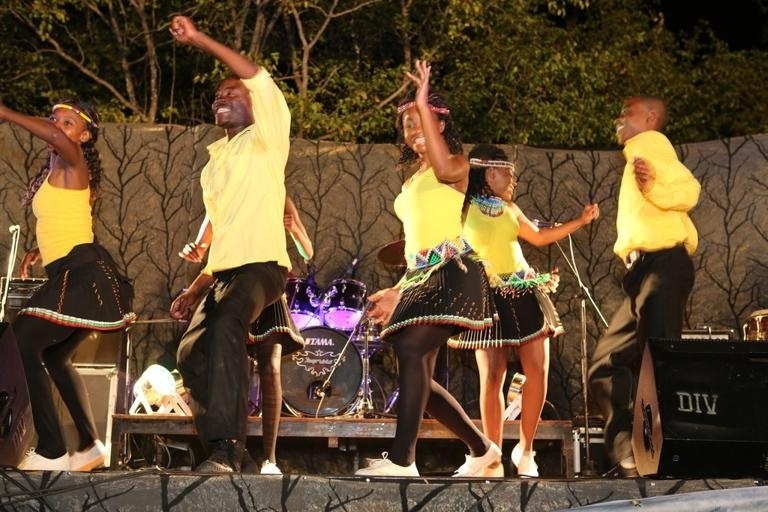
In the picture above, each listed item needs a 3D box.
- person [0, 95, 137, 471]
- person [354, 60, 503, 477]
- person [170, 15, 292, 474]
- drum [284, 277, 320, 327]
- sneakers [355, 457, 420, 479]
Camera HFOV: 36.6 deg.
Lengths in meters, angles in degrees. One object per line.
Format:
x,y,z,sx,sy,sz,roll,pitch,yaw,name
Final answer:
-2.426,0.237,8.779,0.522,2.882,0.907,-1,0,43,person
0.316,0.113,8.301,0.814,2.988,0.932,-1,0,17,person
-1.153,-0.083,8.307,0.636,3.272,0.913,-1,0,30,person
-0.748,0.440,10.726,0.404,0.353,0.392,-4,-7,5,drum
0.024,1.478,7.964,0.452,0.137,0.158,4,-19,-6,sneakers
